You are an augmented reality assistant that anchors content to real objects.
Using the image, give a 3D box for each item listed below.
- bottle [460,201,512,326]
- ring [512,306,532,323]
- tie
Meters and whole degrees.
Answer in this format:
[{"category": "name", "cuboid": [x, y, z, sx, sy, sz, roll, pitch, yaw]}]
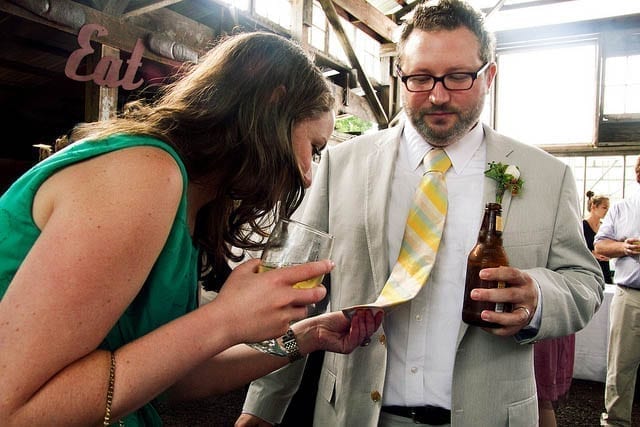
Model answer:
[{"category": "bottle", "cuboid": [0.624, 0.207, 1.699, 0.167, 0.459, 0.179, 3, 0, 0]}, {"category": "ring", "cuboid": [0.745, 0.364, 1.669, 0.057, 0.026, 0.072, 18, 44, 16]}, {"category": "tie", "cuboid": [0.386, 0.084, 1.900, 0.243, 0.928, 0.187, 5, -29, 38]}]
